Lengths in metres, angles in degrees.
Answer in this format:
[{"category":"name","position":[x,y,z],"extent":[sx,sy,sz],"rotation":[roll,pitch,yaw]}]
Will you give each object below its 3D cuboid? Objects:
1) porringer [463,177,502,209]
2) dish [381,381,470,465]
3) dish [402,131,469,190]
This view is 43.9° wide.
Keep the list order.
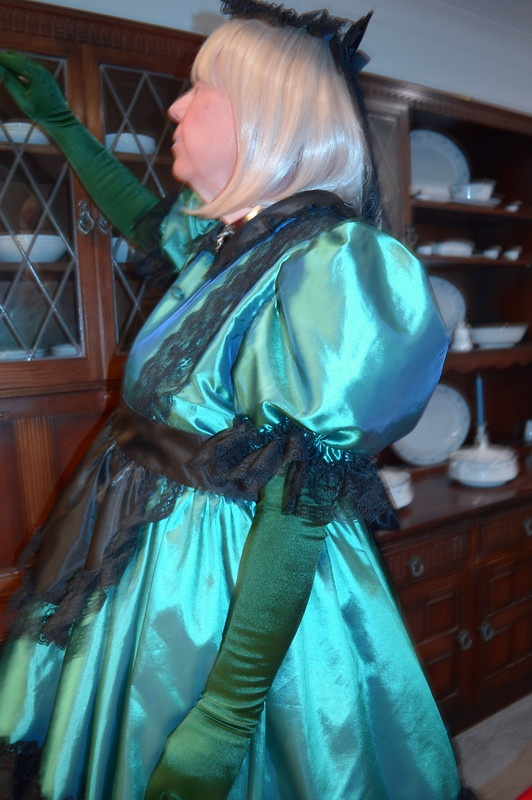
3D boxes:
[{"category":"porringer","position":[0.621,-0.593,1.906],"extent":[0.098,0.086,0.027],"rotation":[0,10,-10]},{"category":"dish","position":[0.515,0.072,2.142],"extent":[0.305,0.277,0.048],"rotation":[-20,20,-22]},{"category":"dish","position":[0.493,-0.702,1.924],"extent":[0.217,0.193,0.045],"rotation":[-16,17,-18]}]
